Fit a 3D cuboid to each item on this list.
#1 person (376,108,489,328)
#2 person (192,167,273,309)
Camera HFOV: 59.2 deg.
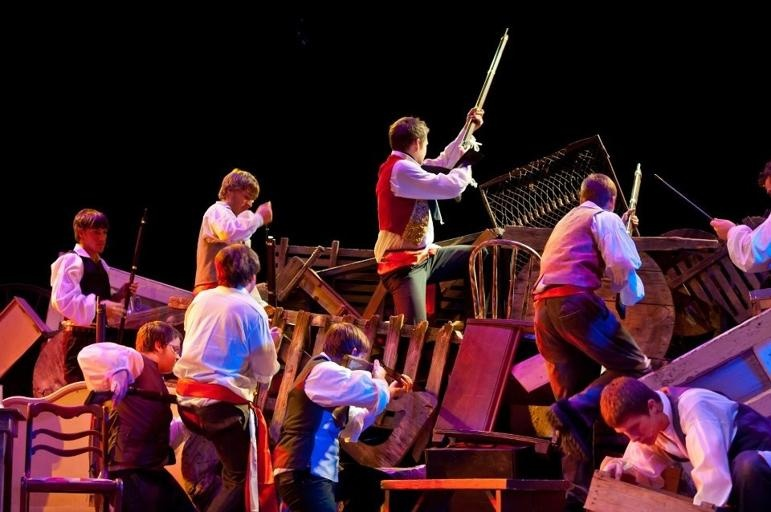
[{"bbox_3d":[0.353,-0.380,6.422,0.916,1.976,0.704,3,-15,-2],"label":"person"},{"bbox_3d":[-1.522,0.199,6.622,0.687,2.006,0.989,2,8,-14],"label":"person"}]
